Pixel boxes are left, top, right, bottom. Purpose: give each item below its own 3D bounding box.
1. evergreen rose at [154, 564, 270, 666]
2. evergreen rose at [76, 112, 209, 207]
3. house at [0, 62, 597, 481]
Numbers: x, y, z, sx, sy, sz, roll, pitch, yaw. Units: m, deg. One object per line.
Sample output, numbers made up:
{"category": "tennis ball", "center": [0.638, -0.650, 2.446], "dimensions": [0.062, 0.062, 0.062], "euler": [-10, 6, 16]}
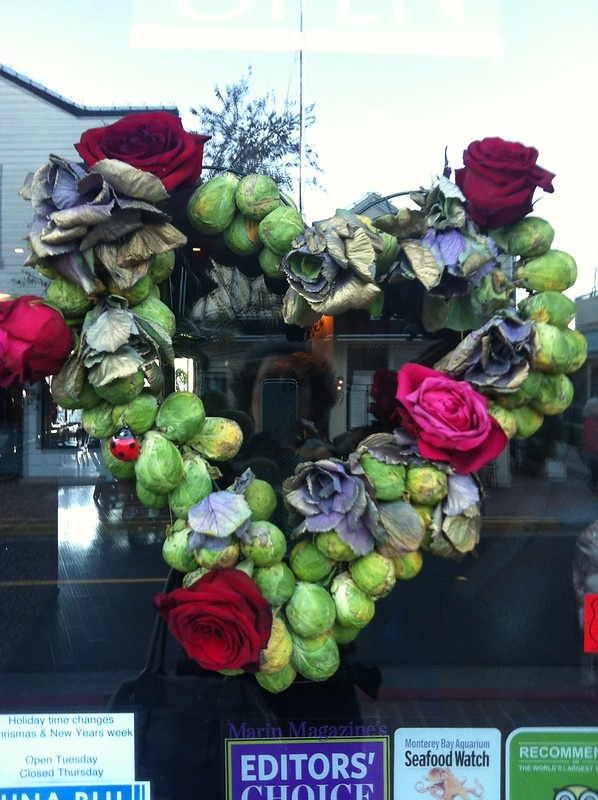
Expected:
{"category": "evergreen rose", "center": [-0.191, 0.520, 1.517], "dimensions": [0.253, 0.248, 0.155], "euler": [-3, 5, -12]}
{"category": "evergreen rose", "center": [-0.371, -0.585, 1.786], "dimensions": [0.326, 0.271, 0.180], "euler": [-15, -16, -9]}
{"category": "house", "center": [0.282, -0.347, 2.253], "dimensions": [1.638, 0.912, 0.619], "euler": [-3, 5, -1]}
